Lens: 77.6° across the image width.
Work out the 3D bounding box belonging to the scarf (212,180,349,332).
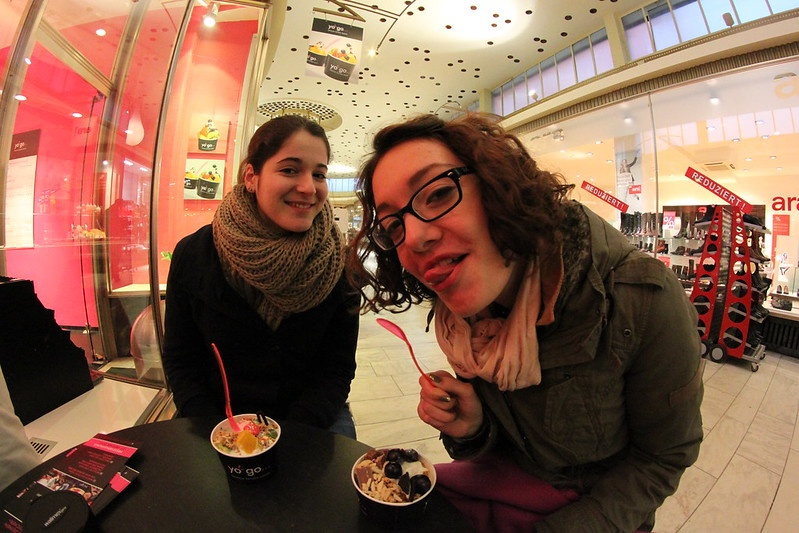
[{"bbox_3d":[-0.792,-0.047,3.108,0.795,0.892,0.390,-3,1,-7],"label":"scarf"}]

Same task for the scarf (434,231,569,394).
[{"bbox_3d":[0.567,0.174,2.729,0.671,0.843,0.379,-1,6,15],"label":"scarf"}]

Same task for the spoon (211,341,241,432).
[{"bbox_3d":[-1.049,0.725,2.995,0.059,0.500,0.078,-12,5,15],"label":"spoon"}]

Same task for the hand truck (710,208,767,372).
[{"bbox_3d":[3.862,0.216,5.584,0.544,1.664,0.869,7,8,36],"label":"hand truck"}]

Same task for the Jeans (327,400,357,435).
[{"bbox_3d":[-0.368,0.986,3.226,0.221,0.084,0.217,4,8,6],"label":"Jeans"}]

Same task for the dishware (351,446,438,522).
[{"bbox_3d":[-0.029,1.081,2.495,0.391,0.158,0.380,7,-11,-41],"label":"dishware"}]

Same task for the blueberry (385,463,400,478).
[{"bbox_3d":[-0.039,1.027,2.499,0.071,0.058,0.070,-3,-1,22],"label":"blueberry"}]

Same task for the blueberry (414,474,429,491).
[{"bbox_3d":[0.106,1.080,2.481,0.066,0.069,0.048,-2,-10,2],"label":"blueberry"}]

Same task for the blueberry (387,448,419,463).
[{"bbox_3d":[0.010,0.960,2.526,0.138,0.059,0.082,0,12,1],"label":"blueberry"}]

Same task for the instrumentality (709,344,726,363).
[{"bbox_3d":[3.471,0.943,5.423,0.072,0.212,0.190,5,3,-33],"label":"instrumentality"}]
